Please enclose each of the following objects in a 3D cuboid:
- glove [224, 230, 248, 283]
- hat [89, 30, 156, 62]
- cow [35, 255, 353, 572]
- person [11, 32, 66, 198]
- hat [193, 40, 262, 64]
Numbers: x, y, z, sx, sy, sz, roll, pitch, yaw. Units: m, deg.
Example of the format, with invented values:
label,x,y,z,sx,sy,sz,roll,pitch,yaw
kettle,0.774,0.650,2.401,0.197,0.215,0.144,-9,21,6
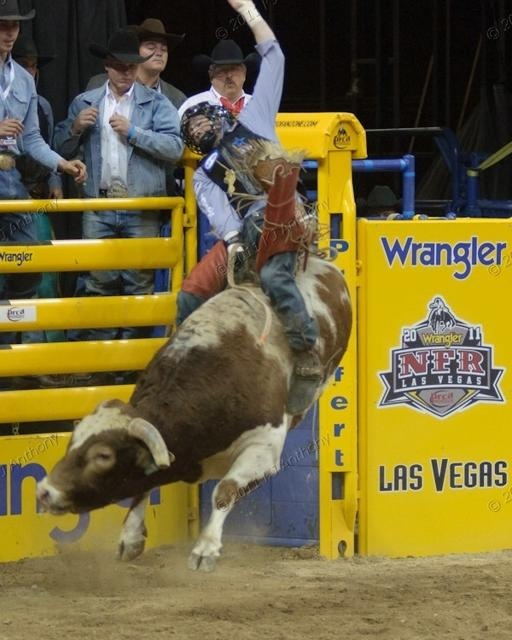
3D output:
label,x,y,z,sx,sy,sz,roll,pitch,yaw
glove,-0.092,-0.284,6.327,0.088,0.152,0.206,5,40,6
hat,-0.795,-1.533,7.827,0.240,0.107,0.265,-1,3,-18
cow,-0.206,0.434,6.097,0.682,1.081,2.151,13,29,29
person,-1.288,-1.297,8.501,0.268,0.837,0.351,-20,21,-13
hat,-0.173,-1.591,8.323,0.308,0.130,0.345,-2,-2,-1
